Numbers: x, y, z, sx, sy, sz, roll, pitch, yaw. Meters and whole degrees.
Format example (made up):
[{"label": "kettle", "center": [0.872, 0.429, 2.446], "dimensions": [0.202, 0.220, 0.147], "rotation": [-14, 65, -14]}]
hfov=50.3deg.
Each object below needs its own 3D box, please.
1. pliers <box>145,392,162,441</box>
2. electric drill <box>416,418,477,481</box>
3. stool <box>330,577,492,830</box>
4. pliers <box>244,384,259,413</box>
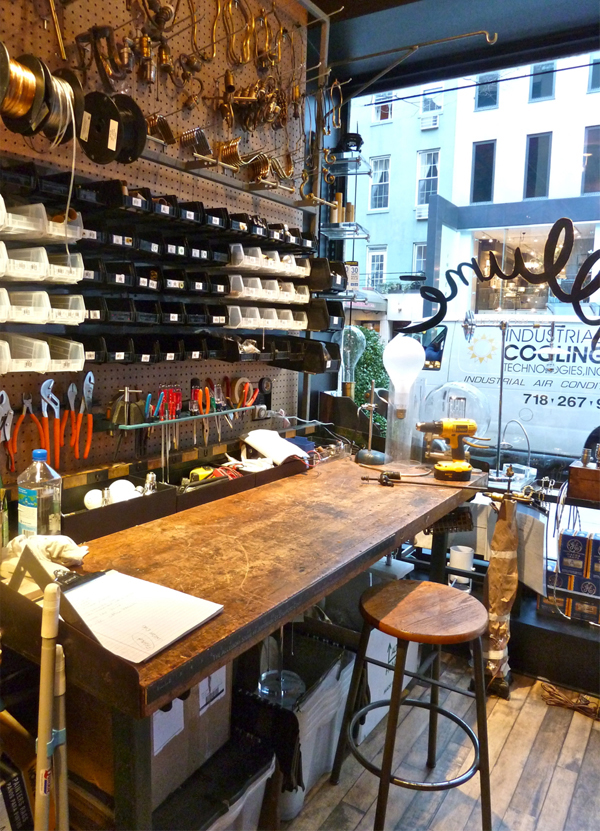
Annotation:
[{"label": "pliers", "center": [-0.483, -0.005, 2.079], "dimensions": [0.060, 0.158, 0.041], "rotation": [16, -25, -22]}, {"label": "electric drill", "center": [0.586, 0.129, 2.530], "dimensions": [0.224, 0.249, 0.113], "rotation": [-1, 6, -4]}, {"label": "stool", "center": [0.308, 0.806, 1.820], "dimensions": [0.411, 0.801, 0.460], "rotation": [4, 5, 34]}, {"label": "pliers", "center": [-0.200, -0.078, 2.622], "dimensions": [0.030, 0.148, 0.039], "rotation": [7, -14, 43]}]
